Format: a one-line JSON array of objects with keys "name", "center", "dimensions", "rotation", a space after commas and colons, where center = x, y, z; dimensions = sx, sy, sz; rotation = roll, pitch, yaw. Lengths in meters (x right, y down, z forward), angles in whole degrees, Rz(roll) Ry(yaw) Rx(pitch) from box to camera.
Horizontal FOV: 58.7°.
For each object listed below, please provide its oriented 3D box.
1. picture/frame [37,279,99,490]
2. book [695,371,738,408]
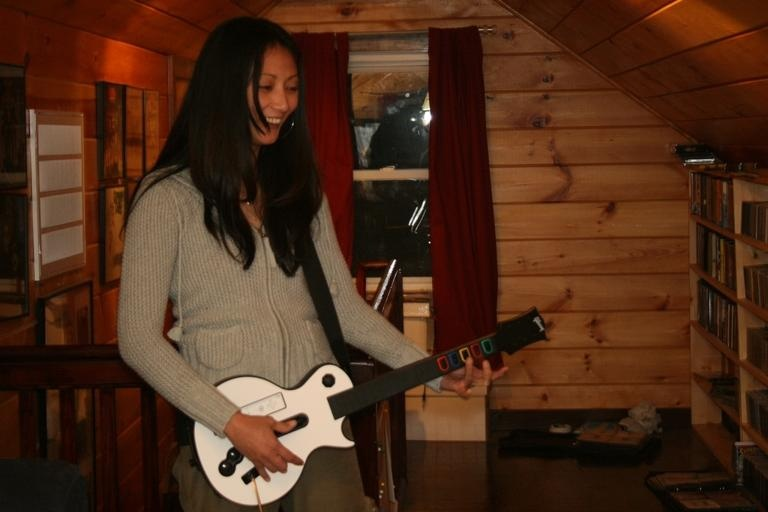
[{"name": "picture/frame", "center": [-1.399, 0.505, 2.984], "dimensions": [0.036, 0.768, 0.615], "rotation": [6, -15, -42]}, {"name": "book", "center": [2.128, 0.841, 4.367], "dimensions": [0.256, 0.075, 0.277], "rotation": [-1, 22, 30]}]
